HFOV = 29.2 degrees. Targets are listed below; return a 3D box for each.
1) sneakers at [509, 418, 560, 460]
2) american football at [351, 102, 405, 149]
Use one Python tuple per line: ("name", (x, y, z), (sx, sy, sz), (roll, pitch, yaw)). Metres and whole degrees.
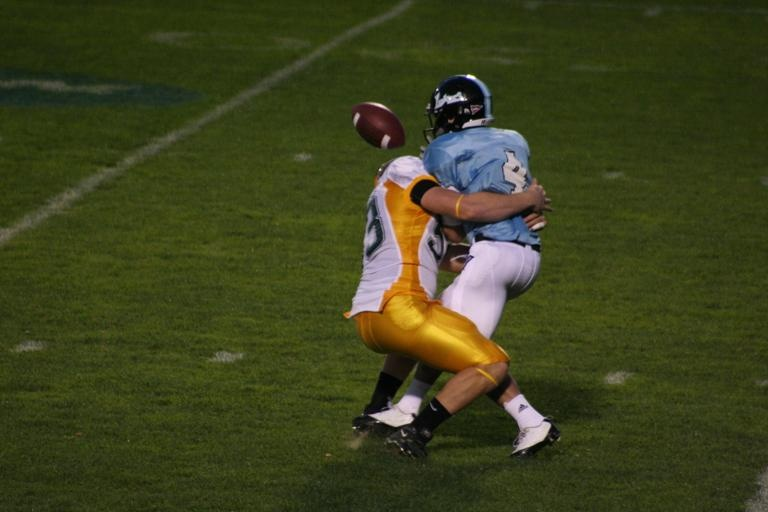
("sneakers", (1.204, 1.436, 11.834), (0.554, 0.188, 0.238), (-27, 98, 14))
("american football", (-0.058, -1.096, 12.415), (0.502, 0.310, 0.273), (30, 102, 9))
